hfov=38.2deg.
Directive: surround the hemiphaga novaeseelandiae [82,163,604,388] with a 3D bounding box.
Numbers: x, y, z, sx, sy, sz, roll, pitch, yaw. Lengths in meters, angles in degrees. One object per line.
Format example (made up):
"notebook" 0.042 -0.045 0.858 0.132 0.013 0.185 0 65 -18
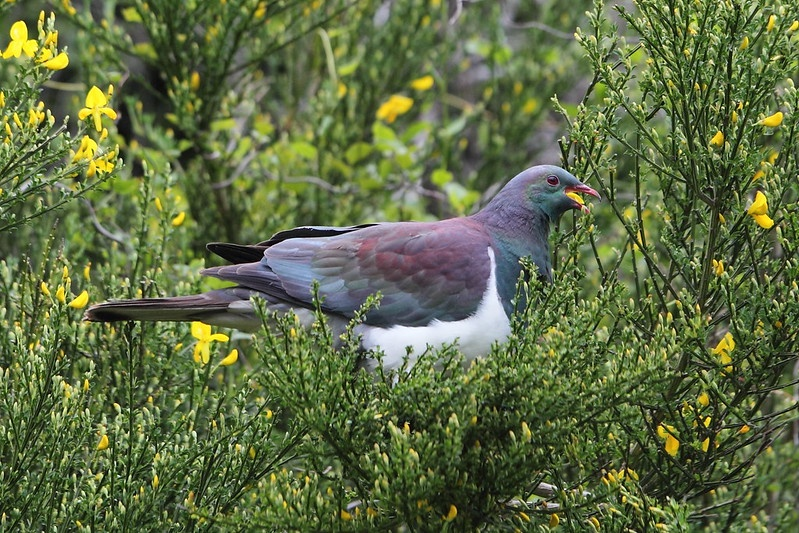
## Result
"hemiphaga novaeseelandiae" -0.208 -0.002 5.671 2.532 1.504 0.856 6 -8 6
